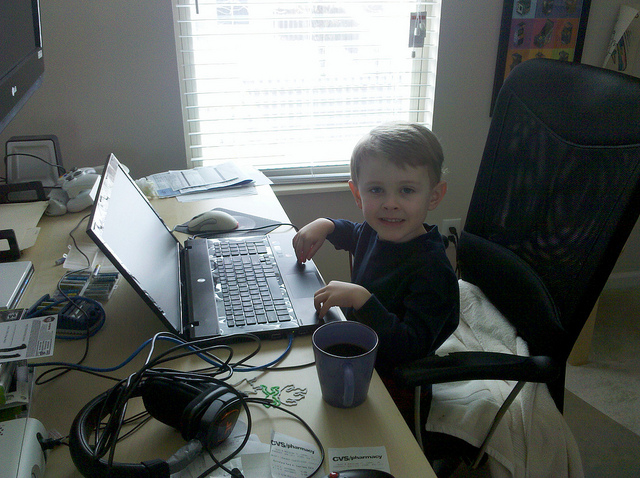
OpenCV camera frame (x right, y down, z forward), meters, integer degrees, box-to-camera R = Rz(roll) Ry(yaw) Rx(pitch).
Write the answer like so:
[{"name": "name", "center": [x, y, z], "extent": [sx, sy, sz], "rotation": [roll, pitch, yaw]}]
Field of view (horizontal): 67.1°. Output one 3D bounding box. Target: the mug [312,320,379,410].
[{"name": "mug", "center": [0.046, 0.237, 0.862], "extent": [0.113, 0.120, 0.150], "rotation": [-2, 20, -5]}]

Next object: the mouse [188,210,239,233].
[{"name": "mouse", "center": [-0.317, -0.048, 1.421], "extent": [0.109, 0.043, 0.066], "rotation": [3, 16, -5]}]

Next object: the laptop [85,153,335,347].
[{"name": "laptop", "center": [-0.233, 0.087, 1.112], "extent": [0.432, 0.301, 0.502], "rotation": [-10, 36, -17]}]
